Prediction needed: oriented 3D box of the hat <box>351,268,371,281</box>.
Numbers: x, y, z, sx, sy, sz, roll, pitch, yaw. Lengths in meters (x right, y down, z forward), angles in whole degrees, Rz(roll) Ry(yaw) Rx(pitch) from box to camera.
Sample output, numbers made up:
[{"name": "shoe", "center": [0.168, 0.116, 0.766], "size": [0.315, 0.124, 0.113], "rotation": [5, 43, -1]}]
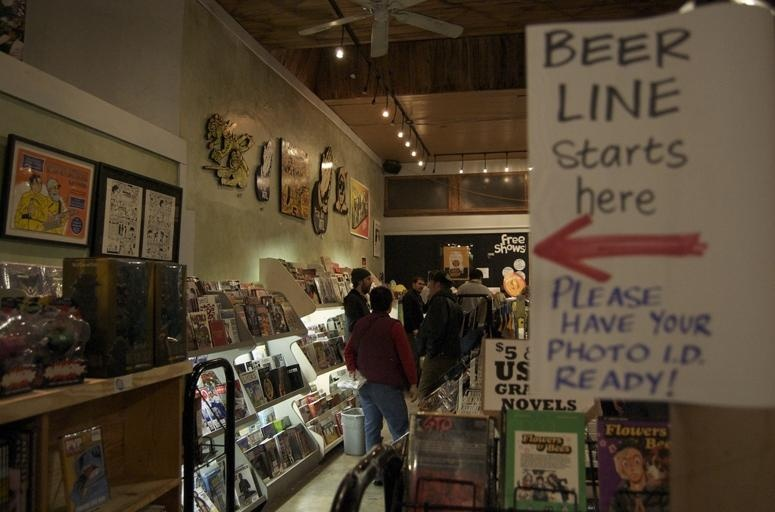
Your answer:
[{"name": "hat", "center": [-0.330, 0.217, 6.412], "size": [0.170, 0.140, 0.153], "rotation": [-1, 3, -2]}]

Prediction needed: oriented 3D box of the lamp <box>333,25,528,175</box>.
[{"name": "lamp", "center": [0.915, -2.223, 8.963], "size": [2.726, 0.612, 4.311], "rotation": [0, -5, 16]}]

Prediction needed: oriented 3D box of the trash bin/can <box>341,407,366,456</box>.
[{"name": "trash bin/can", "center": [-0.318, 1.822, 5.683], "size": [0.284, 0.402, 0.393], "rotation": [-2, -5, 19]}]

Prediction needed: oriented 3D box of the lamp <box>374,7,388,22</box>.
[{"name": "lamp", "center": [-0.050, -1.861, 4.232], "size": [0.100, 0.056, 0.109], "rotation": [1, -5, 0]}]
